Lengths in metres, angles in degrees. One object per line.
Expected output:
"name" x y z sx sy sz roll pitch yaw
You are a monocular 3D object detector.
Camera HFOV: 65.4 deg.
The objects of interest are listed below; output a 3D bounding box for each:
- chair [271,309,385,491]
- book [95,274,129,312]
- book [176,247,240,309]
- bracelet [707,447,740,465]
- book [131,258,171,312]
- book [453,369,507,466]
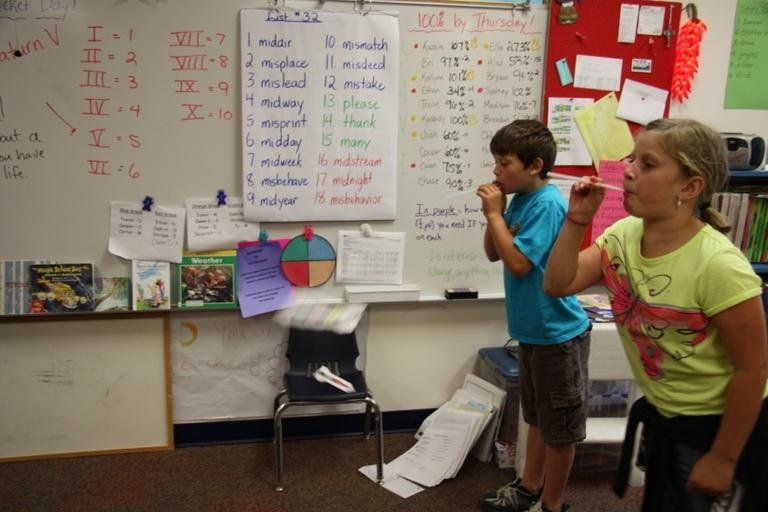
"chair" -0.339 0.777 3.335 0.694 0.862 0.692 -3 9 -25
"book" -1.554 0.217 3.376 0.202 0.194 0.023 1 1 4
"book" -1.031 0.115 3.403 0.355 0.339 0.052 0 -2 -6
"bracelet" 1.180 0.689 2.062 0.065 0.026 0.057 -5 -6 14
"book" -1.339 0.150 3.368 0.302 0.400 0.043 1 2 -12
"book" 0.581 0.960 3.501 0.096 0.386 0.396 15 4 -34
